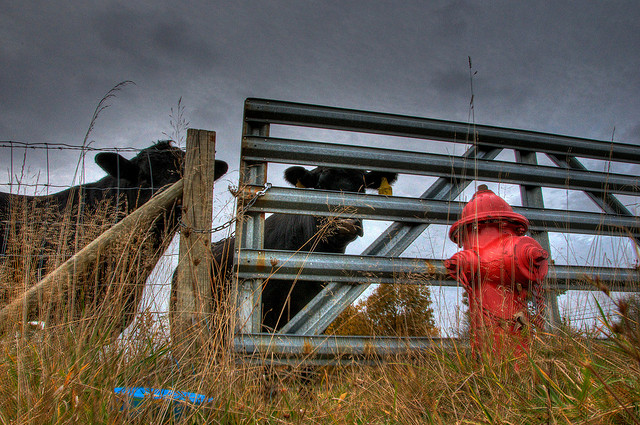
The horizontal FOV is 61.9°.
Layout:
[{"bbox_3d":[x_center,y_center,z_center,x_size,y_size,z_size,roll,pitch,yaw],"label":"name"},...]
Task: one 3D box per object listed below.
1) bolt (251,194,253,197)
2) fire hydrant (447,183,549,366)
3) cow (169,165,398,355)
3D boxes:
[{"bbox_3d":[-0.729,-0.176,5.719,0.017,0.016,0.006,-12,6,-12],"label":"bolt"},{"bbox_3d":[1.519,0.501,4.622,0.844,1.370,1.152,-8,6,23],"label":"fire hydrant"},{"bbox_3d":[-0.961,0.711,7.796,1.454,2.556,4.623,15,-31,-32],"label":"cow"}]
